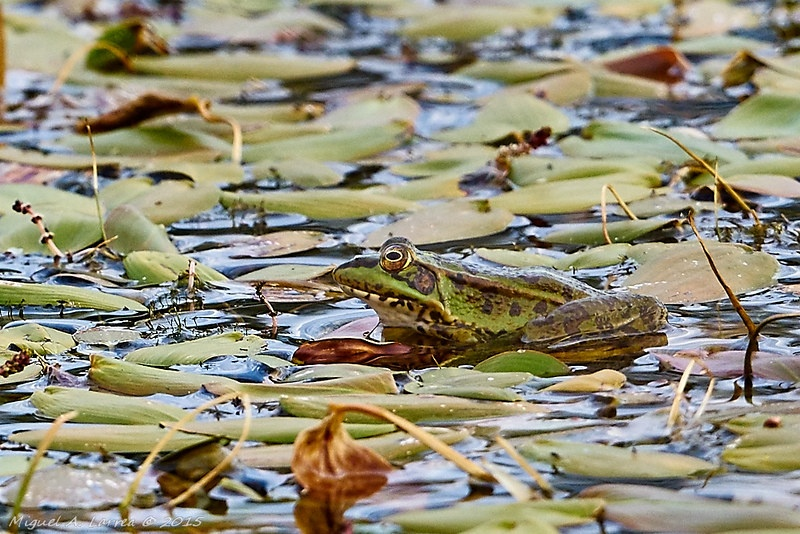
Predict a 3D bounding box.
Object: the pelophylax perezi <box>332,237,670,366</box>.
[{"bbox_3d":[0.510,0.162,4.385,1.454,0.266,0.817,1,-1,10],"label":"pelophylax perezi"}]
